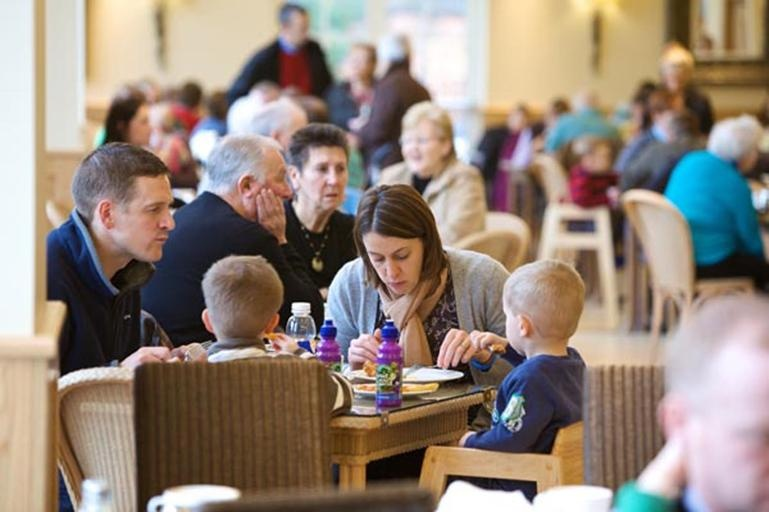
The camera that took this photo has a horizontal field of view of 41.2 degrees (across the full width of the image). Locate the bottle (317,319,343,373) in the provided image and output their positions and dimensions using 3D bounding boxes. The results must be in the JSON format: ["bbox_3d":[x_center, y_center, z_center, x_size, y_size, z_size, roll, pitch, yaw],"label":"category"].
[{"bbox_3d":[-0.189,0.319,3.389,0.085,0.220,0.084,1,10,0],"label":"bottle"}]

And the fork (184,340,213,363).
[{"bbox_3d":[-0.588,0.313,3.253,0.072,0.023,0.074,-5,22,8],"label":"fork"}]

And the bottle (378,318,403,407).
[{"bbox_3d":[0.010,0.338,3.092,0.082,0.235,0.076,-2,2,0],"label":"bottle"}]

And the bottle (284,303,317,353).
[{"bbox_3d":[-0.296,0.261,3.621,0.100,0.195,0.096,0,19,0],"label":"bottle"}]

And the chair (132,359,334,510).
[{"bbox_3d":[-0.395,0.443,2.925,0.393,0.611,0.478,0,4,-1],"label":"chair"}]
